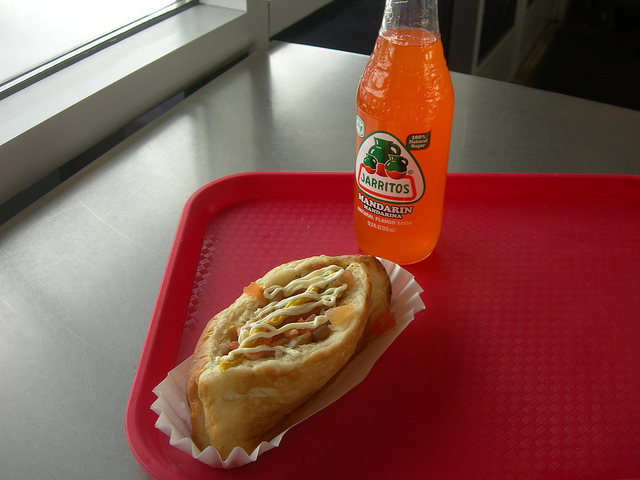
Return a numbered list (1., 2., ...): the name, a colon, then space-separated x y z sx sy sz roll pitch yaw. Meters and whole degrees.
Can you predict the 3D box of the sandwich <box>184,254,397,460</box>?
1. sandwich: -0.039 0.115 0.630 0.321 0.086 0.152 -38 60 -24
